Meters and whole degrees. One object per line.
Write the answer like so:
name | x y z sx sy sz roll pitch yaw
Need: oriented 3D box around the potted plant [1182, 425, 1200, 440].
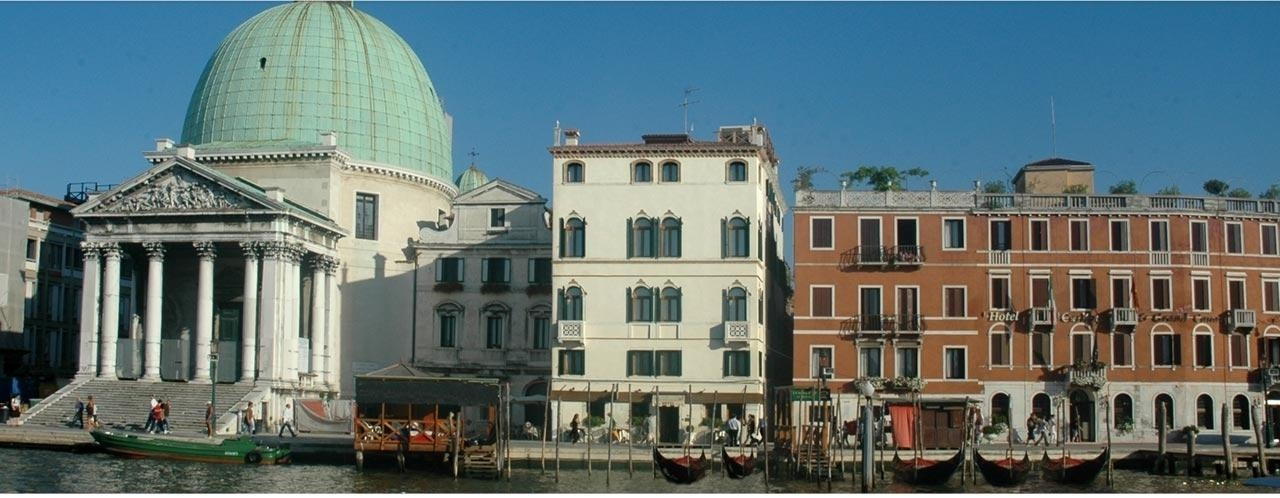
potted plant | 66.022 22.158 245.603 1.672 1.956 1.182 15 -44 7

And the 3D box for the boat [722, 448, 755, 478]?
boat | 11.802 25.579 242.256 2.425 3.360 5.448 -8 -13 42
